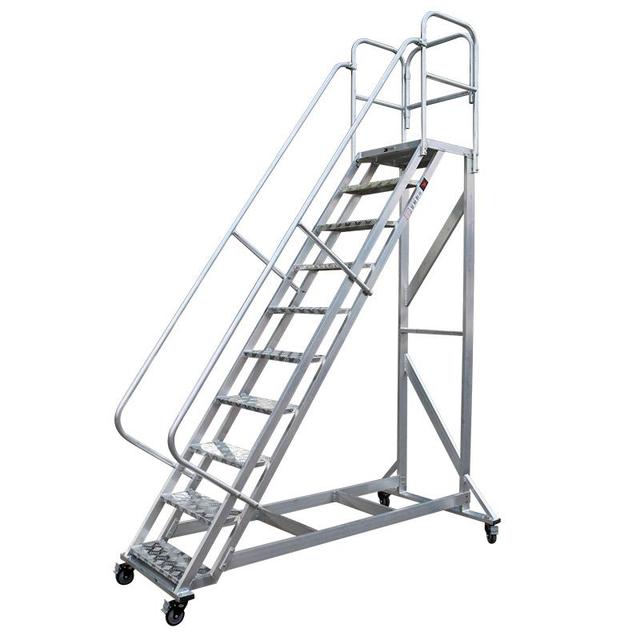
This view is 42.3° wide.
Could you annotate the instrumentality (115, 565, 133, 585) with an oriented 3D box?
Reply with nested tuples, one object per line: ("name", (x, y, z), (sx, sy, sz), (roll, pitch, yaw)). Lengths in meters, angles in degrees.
("instrumentality", (-0.859, 1.153, 3.698), (0.087, 0.083, 0.059), (19, -51, -7))
